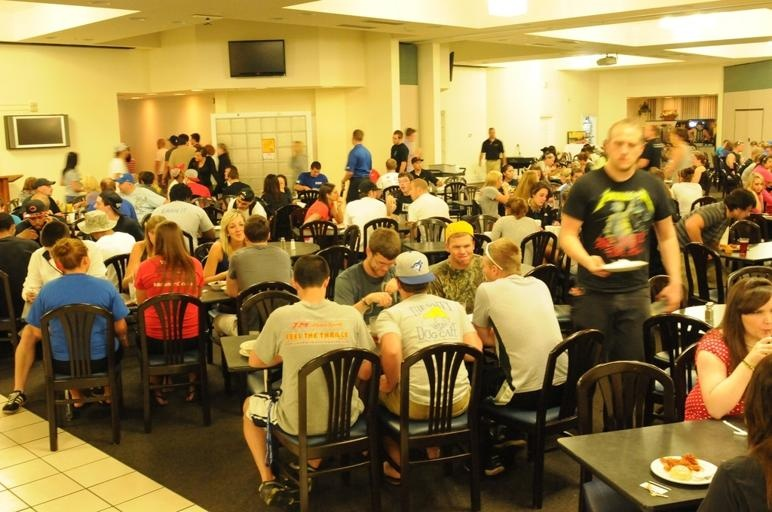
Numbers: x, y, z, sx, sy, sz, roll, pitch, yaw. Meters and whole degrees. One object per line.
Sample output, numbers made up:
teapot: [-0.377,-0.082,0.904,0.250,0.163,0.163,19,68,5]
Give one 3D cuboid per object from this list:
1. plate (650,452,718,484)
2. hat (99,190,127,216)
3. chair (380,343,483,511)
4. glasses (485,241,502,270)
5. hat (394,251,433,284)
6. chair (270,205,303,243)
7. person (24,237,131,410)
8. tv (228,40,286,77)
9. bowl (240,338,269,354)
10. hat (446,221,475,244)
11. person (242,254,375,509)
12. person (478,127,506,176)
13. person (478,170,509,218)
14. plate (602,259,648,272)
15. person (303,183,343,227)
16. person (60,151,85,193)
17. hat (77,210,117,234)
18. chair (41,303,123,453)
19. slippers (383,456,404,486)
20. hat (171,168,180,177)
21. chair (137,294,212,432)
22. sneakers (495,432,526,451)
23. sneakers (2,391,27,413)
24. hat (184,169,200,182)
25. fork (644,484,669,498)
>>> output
plate: [1.394,0.990,2.865,0.232,0.044,0.221,-4,11,-16]
hat: [-3.154,-0.616,7.094,0.293,0.211,0.193,30,4,-46]
chair: [0.297,1.087,3.931,0.645,1.146,0.352,-3,9,-2]
glasses: [0.708,0.002,4.162,0.162,0.042,0.159,34,30,-12]
hat: [0.184,0.081,3.887,0.174,0.115,0.234,-10,29,-18]
chair: [-1.536,-0.505,9.568,0.462,0.684,0.483,-10,30,-21]
person: [-2.612,0.543,5.136,1.098,1.354,0.921,2,7,-7]
tv: [-2.766,-4.250,13.222,0.843,0.545,0.084,-1,3,-2]
bowl: [-0.917,0.593,4.141,0.183,0.057,0.177,-2,7,0]
hat: [0.623,-0.211,5.204,0.201,0.104,0.250,-6,4,1]
person: [-0.523,0.829,3.902,0.906,1.656,0.498,-2,9,1]
person: [2.971,-2.990,17.291,0.674,1.239,1.233,-1,9,7]
person: [1.701,-0.892,9.748,0.534,0.861,0.438,-16,24,-29]
plate: [1.547,0.072,3.974,0.231,0.101,0.403,2,9,26]
person: [-0.826,-0.722,8.638,0.445,0.567,1.097,-1,9,10]
person: [-5.658,-1.485,11.060,0.284,0.733,0.604,-7,10,-27]
hat: [-3.151,-0.328,6.564,0.331,0.122,0.304,4,24,27]
chair: [-2.450,0.901,4.937,0.613,1.145,0.646,-6,10,-21]
slippers: [0.037,1.483,4.255,0.089,0.097,0.258,-2,2,-27]
hat: [-3.953,-1.580,11.608,0.173,0.156,0.355,-5,9,-19]
chair: [-1.818,0.812,5.227,0.545,1.116,0.763,-6,10,-21]
sneakers: [0.906,1.328,4.425,0.164,0.055,0.157,-3,6,-38]
sneakers: [-3.264,1.262,5.400,0.188,0.188,0.150,-8,11,-33]
hat: [-3.510,-1.441,11.023,0.318,0.156,0.235,5,8,38]
fork: [1.215,1.056,2.790,0.107,0.030,0.058,2,10,28]
